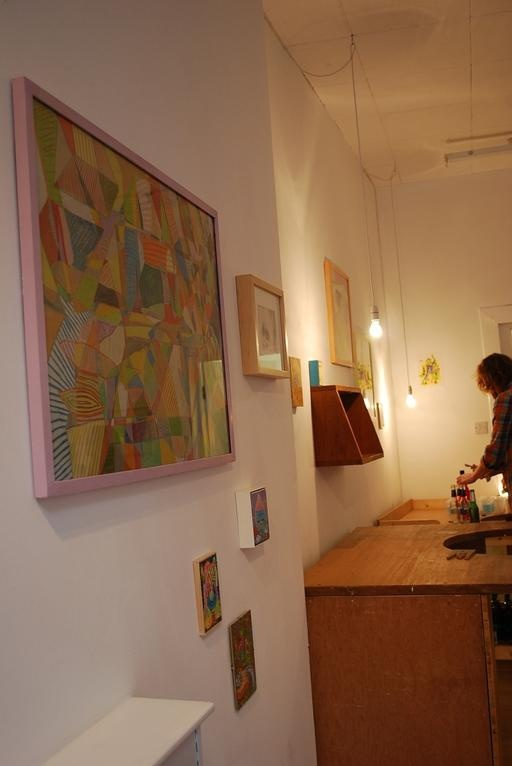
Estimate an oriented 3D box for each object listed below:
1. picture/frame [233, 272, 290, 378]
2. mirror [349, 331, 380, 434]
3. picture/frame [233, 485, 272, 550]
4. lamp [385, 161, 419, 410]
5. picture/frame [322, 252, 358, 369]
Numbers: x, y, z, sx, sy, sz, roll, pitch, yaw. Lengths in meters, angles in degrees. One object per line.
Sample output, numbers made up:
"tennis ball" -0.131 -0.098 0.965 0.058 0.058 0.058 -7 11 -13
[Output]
"picture/frame" 0.012 -0.154 1.494 0.032 0.277 0.270 -3 -5 19
"mirror" 0.700 0.003 3.553 0.023 0.953 0.567 -5 4 17
"picture/frame" -0.011 0.323 1.306 0.044 0.177 0.160 -6 -3 15
"lamp" 1.276 -0.759 4.752 0.111 2.028 0.159 -4 0 13
"picture/frame" 0.486 -0.410 3.207 0.037 0.722 0.634 -4 -7 21
